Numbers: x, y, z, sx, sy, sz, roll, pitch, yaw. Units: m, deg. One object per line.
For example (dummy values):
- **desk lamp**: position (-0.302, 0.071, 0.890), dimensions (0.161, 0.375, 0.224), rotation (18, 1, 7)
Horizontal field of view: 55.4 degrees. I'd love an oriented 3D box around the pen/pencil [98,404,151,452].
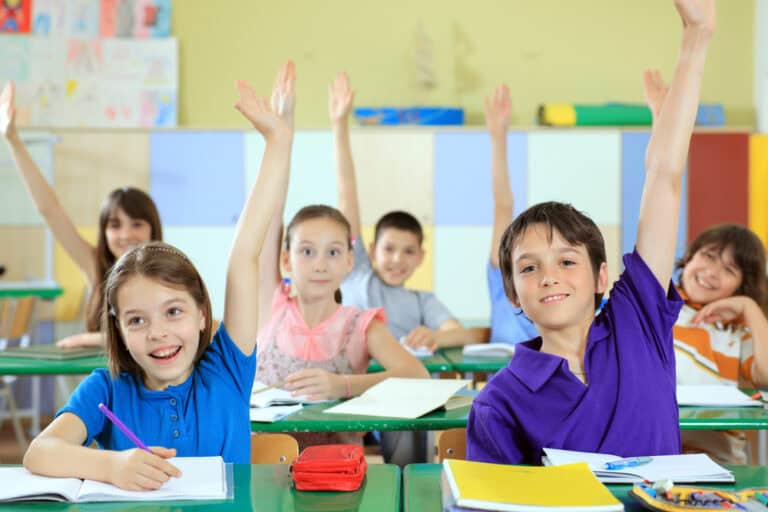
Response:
- **pen/pencil**: position (-0.598, 0.399, 1.689), dimensions (0.018, 0.156, 0.017), rotation (-34, 17, 15)
